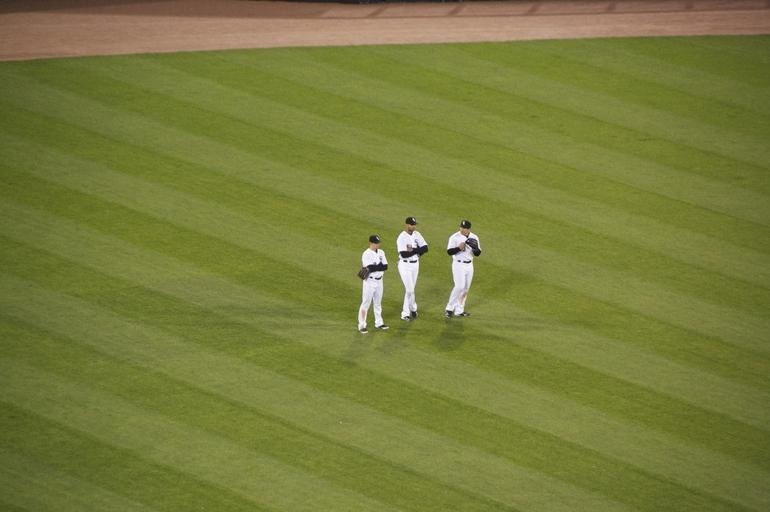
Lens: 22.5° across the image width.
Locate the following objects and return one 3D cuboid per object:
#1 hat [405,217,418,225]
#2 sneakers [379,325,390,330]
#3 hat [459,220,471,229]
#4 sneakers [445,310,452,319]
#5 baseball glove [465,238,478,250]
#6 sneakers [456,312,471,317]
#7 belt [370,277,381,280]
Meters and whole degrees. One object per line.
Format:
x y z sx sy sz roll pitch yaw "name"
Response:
0.618 -0.842 46.482 0.239 0.554 0.226 11 85 2 "hat"
-0.034 1.732 46.812 0.249 0.096 0.088 -1 97 8 "sneakers"
1.967 -0.770 46.928 0.303 0.385 0.124 2 94 2 "hat"
1.571 1.412 46.958 0.198 0.154 0.158 0 93 22 "sneakers"
2.103 -0.290 46.380 0.271 0.101 0.281 -5 84 0 "baseball glove"
1.936 1.422 47.032 0.345 0.102 0.116 -2 98 2 "sneakers"
-0.217 0.534 46.335 0.240 0.167 0.112 -4 84 0 "belt"
